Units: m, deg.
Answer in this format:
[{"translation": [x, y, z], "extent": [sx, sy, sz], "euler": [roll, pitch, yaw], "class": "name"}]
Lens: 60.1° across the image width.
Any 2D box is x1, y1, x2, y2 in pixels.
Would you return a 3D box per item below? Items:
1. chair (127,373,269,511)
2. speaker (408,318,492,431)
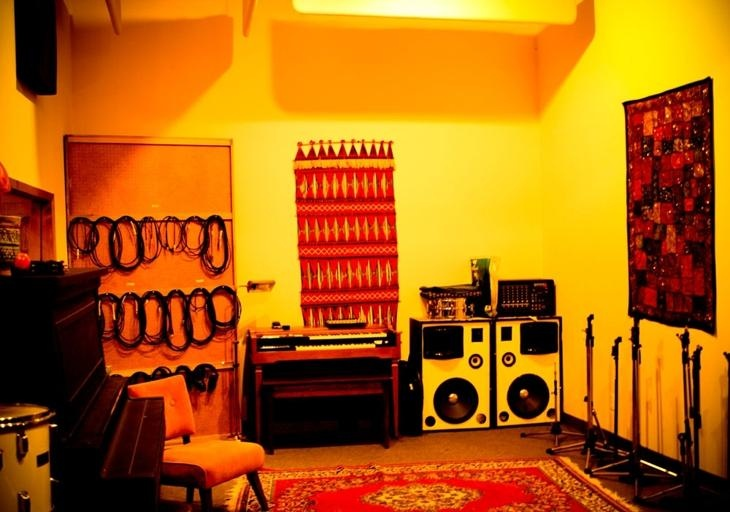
[{"translation": [-1.253, 1.508, 5.359], "extent": [0.998, 1.459, 0.962], "euler": [-3, -3, 27], "class": "chair"}, {"translation": [0.897, 1.207, 7.140], "extent": [0.987, 1.681, 0.980], "euler": [0, -2, -7], "class": "speaker"}]
